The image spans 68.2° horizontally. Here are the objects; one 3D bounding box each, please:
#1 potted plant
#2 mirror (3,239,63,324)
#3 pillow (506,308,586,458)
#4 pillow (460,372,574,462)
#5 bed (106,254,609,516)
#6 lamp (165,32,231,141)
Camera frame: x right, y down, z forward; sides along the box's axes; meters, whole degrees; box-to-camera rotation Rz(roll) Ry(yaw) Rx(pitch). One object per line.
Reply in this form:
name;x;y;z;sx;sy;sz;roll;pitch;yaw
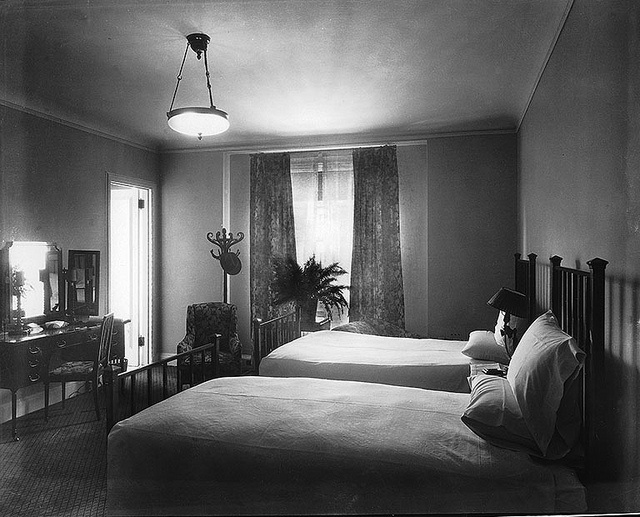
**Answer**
potted plant;-0.096;0.197;3.066;0.411;0.398;0.424;3;-1;-31
mirror;-0.616;0.046;1.029;0.144;0.166;0.042;0;9;12
pillow;0.592;0.316;1.268;0.162;0.277;0.310;2;10;21
pillow;0.510;0.401;1.201;0.204;0.061;0.210;-10;14;24
bed;0.061;0.376;1.302;1.251;0.369;0.567;-1;10;4
lamp;-0.323;-0.463;1.266;0.157;0.250;0.155;0;0;-44
